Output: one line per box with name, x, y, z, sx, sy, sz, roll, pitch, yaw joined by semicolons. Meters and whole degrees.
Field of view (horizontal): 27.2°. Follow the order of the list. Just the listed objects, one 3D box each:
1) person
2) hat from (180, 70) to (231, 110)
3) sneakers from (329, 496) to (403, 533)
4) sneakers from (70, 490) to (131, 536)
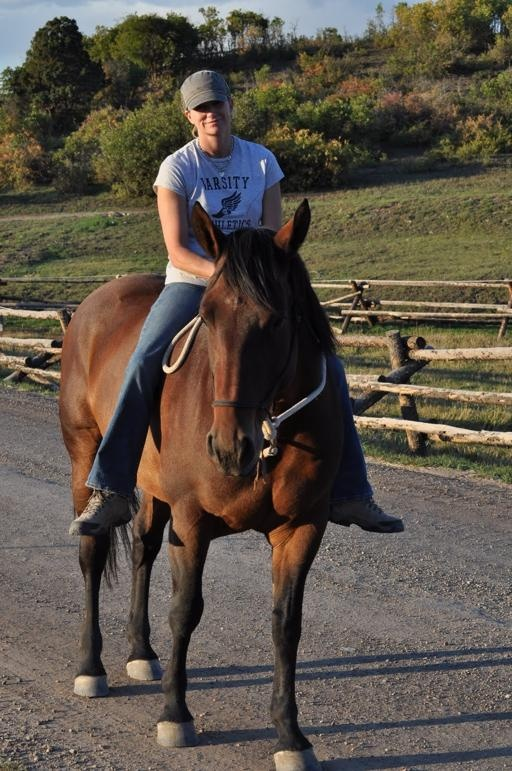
person;-0.184;-0.405;5.111;1.626;2.212;1.193;-4;15;-4
hat;-0.252;-1.438;5.144;0.240;0.205;0.285;0;11;-3
sneakers;0.574;0.628;5.342;0.421;0.189;0.150;7;34;-12
sneakers;-0.723;0.601;5.122;0.146;0.199;0.438;13;9;31
